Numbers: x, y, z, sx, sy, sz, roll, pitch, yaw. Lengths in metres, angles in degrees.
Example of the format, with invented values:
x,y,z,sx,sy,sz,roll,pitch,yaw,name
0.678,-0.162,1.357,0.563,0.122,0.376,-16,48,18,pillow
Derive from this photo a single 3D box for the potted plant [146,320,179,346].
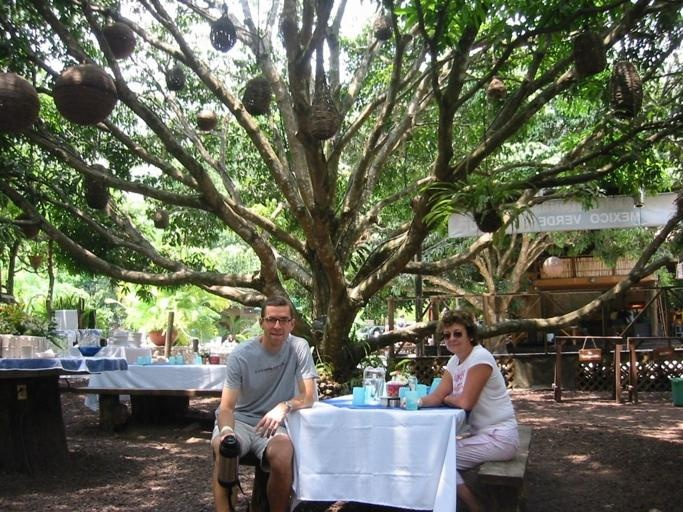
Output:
x,y,z,sx,sy,sz,roll,pitch,yaw,name
-9.661,4.193,31.625,1.193,0.821,1.273,-3,-7,16,potted plant

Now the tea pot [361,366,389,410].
x,y,z,sx,sy,sz,roll,pitch,yaw,name
0.354,1.179,5.244,0.238,0.469,0.250,1,-3,0,tea pot

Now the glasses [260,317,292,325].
x,y,z,sx,sy,sz,roll,pitch,yaw,name
-0.548,0.545,4.949,0.213,0.059,0.062,-2,-10,-4,glasses

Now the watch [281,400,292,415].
x,y,z,sx,sy,sz,roll,pitch,yaw,name
-0.467,1.253,4.875,0.105,0.110,0.069,5,14,-28,watch

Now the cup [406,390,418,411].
x,y,z,sx,sy,sz,roll,pitch,yaw,name
0.589,1.232,4.912,0.119,0.151,0.127,0,-6,0,cup

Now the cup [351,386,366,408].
x,y,z,sx,sy,sz,roll,pitch,yaw,name
0.151,1.245,5.149,0.123,0.251,0.129,1,6,0,cup

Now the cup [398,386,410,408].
x,y,z,sx,sy,sz,roll,pitch,yaw,name
0.537,1.217,5.047,0.125,0.254,0.131,1,-15,0,cup

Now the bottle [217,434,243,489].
x,y,z,sx,sy,sz,roll,pitch,yaw,name
-0.872,1.592,4.502,0.181,0.424,0.245,0,-9,-12,bottle

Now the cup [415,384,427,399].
x,y,z,sx,sy,sz,roll,pitch,yaw,name
0.748,1.256,5.423,0.109,0.175,0.137,3,-5,4,cup

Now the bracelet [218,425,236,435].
x,y,z,sx,sy,sz,roll,pitch,yaw,name
-0.906,1.367,4.627,0.078,0.090,0.079,-6,-7,44,bracelet

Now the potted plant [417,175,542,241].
x,y,z,sx,sy,sz,roll,pitch,yaw,name
1.368,-0.499,5.514,0.969,0.452,0.989,18,22,28,potted plant
